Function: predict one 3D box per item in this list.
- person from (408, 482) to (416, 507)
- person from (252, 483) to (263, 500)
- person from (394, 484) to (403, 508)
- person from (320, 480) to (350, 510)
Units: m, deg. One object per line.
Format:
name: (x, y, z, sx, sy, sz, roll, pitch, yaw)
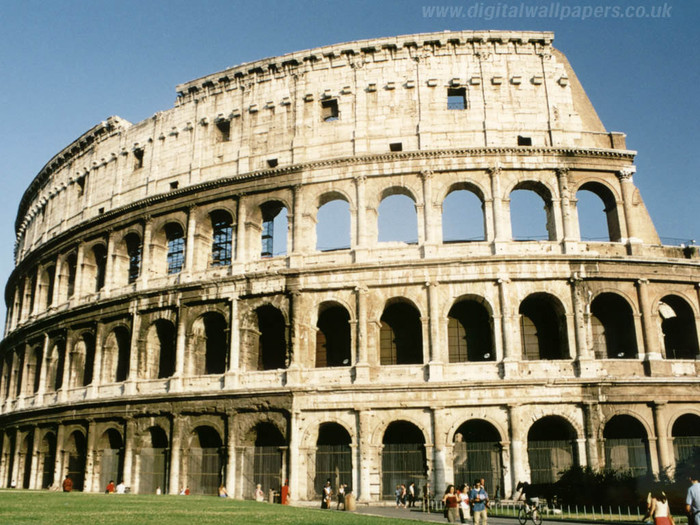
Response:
person: (2.886, 10.830, 33.512, 0.348, 1.057, 0.499, -2, -26, 4)
person: (-4.438, 11.175, 35.102, 0.468, 0.982, 1.311, 3, -27, -7)
person: (2.354, 10.939, 33.609, 0.439, 1.101, 1.018, -2, -26, 3)
person: (-0.681, 10.764, 33.080, 1.370, 1.518, 0.716, 1, -35, 0)
